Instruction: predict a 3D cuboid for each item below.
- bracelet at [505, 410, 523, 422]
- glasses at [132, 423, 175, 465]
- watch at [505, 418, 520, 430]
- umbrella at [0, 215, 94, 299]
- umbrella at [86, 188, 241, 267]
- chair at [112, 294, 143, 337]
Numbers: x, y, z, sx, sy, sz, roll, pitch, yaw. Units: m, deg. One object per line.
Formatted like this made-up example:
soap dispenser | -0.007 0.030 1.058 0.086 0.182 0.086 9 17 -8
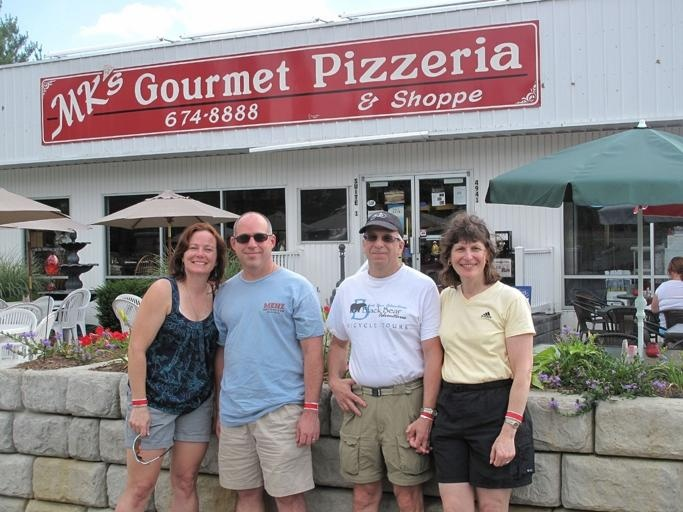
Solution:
bracelet | 1.210 1.103 5.191 0.082 0.034 0.088 7 0 -2
glasses | -1.463 1.454 5.712 0.246 0.211 0.069 -22 11 -1
watch | 1.190 1.161 5.204 0.111 0.067 0.042 -2 -1 -5
umbrella | -4.856 -0.265 11.906 1.583 1.451 1.619 1 4 -16
umbrella | -2.576 -0.473 11.052 2.202 0.997 2.316 -4 -2 42
chair | -3.148 0.888 10.799 0.480 0.616 0.489 7 0 -39
